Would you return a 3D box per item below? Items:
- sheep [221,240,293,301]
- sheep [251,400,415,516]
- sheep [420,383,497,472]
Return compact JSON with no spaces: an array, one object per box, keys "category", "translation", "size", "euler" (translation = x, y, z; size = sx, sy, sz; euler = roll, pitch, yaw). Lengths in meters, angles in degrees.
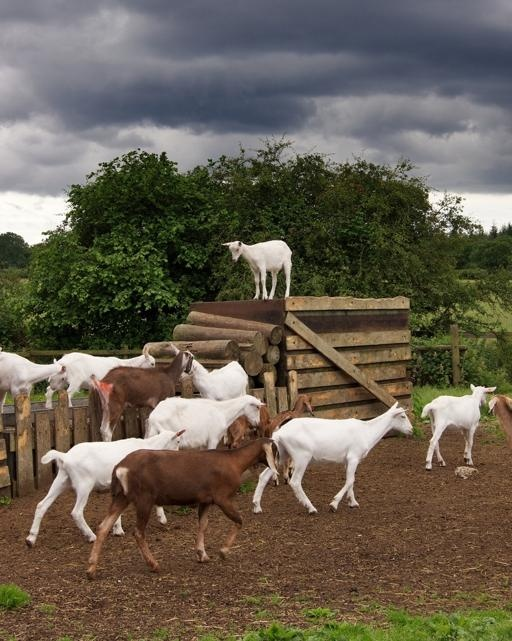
[{"category":"sheep","translation":[0.181,-0.948,14.512],"size":[0.742,1.120,1.588],"euler":[2,2,28]},{"category":"sheep","translation":[1.136,1.795,10.066],"size":[1.768,1.094,0.755],"euler":[-1,3,-32]},{"category":"sheep","translation":[3.131,1.701,12.482],"size":[1.283,1.301,0.494],"euler":[0,3,-15]}]
